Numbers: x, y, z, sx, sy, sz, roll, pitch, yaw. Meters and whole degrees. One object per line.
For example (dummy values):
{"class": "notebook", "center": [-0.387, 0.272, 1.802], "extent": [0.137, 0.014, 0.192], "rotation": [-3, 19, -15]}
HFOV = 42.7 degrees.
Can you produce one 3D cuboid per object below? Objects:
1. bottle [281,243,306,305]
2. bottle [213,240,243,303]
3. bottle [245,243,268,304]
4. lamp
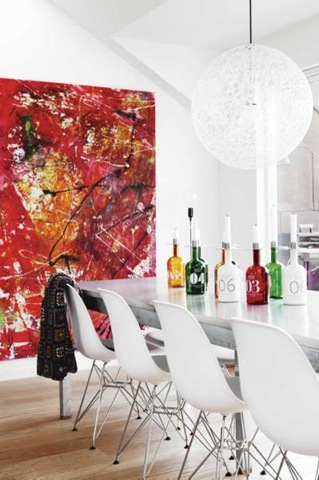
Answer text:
{"class": "bottle", "center": [0.469, 0.111, 1.433], "extent": [0.078, 0.249, 0.060], "rotation": [1, 23, 16]}
{"class": "bottle", "center": [0.253, 0.129, 1.621], "extent": [0.082, 0.236, 0.136], "rotation": [1, -4, -45]}
{"class": "bottle", "center": [0.356, 0.124, 1.498], "extent": [0.083, 0.227, 0.116], "rotation": [-2, -3, 13]}
{"class": "lamp", "center": [0.381, -0.548, 1.732], "extent": [0.374, 0.455, 0.434], "rotation": [1, -4, -34]}
